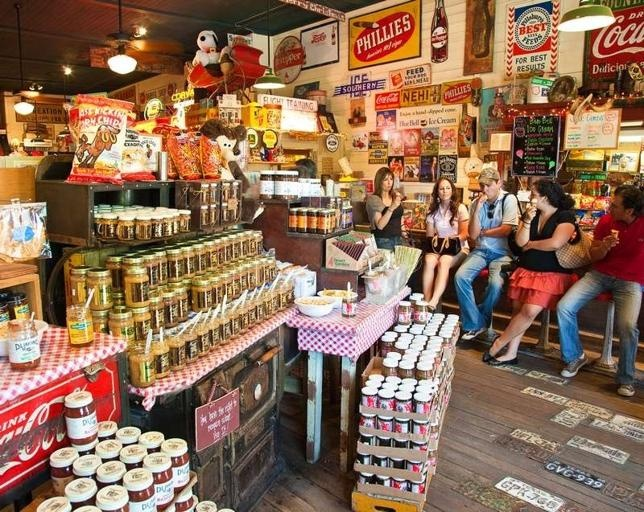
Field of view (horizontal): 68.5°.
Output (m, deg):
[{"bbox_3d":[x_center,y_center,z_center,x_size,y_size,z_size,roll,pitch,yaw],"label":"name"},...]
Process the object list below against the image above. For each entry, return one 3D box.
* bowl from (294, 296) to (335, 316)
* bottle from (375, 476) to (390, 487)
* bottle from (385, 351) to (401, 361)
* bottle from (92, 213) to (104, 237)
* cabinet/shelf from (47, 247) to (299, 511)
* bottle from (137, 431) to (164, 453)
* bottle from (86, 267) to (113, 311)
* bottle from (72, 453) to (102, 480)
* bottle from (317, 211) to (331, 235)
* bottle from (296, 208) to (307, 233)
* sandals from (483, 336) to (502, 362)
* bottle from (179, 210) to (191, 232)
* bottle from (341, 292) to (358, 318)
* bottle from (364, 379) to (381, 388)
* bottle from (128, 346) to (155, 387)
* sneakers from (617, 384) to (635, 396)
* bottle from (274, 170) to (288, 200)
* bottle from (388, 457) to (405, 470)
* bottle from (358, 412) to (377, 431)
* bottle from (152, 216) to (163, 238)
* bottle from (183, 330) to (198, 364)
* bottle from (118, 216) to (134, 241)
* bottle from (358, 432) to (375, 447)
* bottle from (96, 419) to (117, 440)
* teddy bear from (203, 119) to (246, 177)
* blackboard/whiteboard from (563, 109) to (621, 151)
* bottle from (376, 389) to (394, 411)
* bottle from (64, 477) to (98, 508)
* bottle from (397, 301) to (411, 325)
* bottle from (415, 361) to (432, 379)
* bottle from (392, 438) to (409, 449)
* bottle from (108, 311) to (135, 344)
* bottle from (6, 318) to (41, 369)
[{"bbox_3d":[-0.057,0.352,3.340,0.272,0.097,0.237,0,13,0],"label":"bowl"},{"bbox_3d":[0.347,1.279,2.705,0.073,0.089,0.066,0,-5,-3],"label":"bottle"},{"bbox_3d":[0.471,0.656,3.125,0.069,0.014,0.065,1,3,0],"label":"bottle"},{"bbox_3d":[-1.134,-0.151,2.408,0.050,0.115,0.022,3,16,11],"label":"bottle"},{"bbox_3d":[-0.989,0.571,3.186,1.406,1.446,1.750,3,9,18],"label":"cabinet/shelf"},{"bbox_3d":[-0.690,0.740,1.905,0.081,0.064,0.077,3,8,0],"label":"bottle"},{"bbox_3d":[-1.094,0.164,2.328,0.108,0.204,0.070,-7,17,-23],"label":"bottle"},{"bbox_3d":[-0.877,0.775,1.762,0.088,0.068,0.082,1,8,0],"label":"bottle"},{"bbox_3d":[0.006,-0.263,3.615,0.073,0.186,0.097,7,17,26],"label":"bottle"},{"bbox_3d":[-0.159,-0.272,3.640,0.078,0.182,0.052,1,15,6],"label":"bottle"},{"bbox_3d":[1.773,0.933,4.926,0.097,0.097,0.438,-11,17,32],"label":"sandals"},{"bbox_3d":[-0.803,-0.205,2.768,0.030,0.127,0.078,4,15,14],"label":"bottle"},{"bbox_3d":[0.187,0.331,3.323,0.096,0.142,0.240,2,14,7],"label":"bottle"},{"bbox_3d":[0.304,0.771,2.839,0.091,0.031,0.105,1,13,4],"label":"bottle"},{"bbox_3d":[-0.878,0.537,2.292,0.121,0.176,0.080,-2,15,-6],"label":"bottle"},{"bbox_3d":[2.663,1.169,4.145,0.075,0.067,0.182,-4,-9,37],"label":"sneakers"},{"bbox_3d":[-0.335,-0.549,3.680,0.123,0.187,0.069,8,17,27],"label":"bottle"},{"bbox_3d":[0.421,1.168,2.685,0.089,0.064,0.032,1,15,5],"label":"bottle"},{"bbox_3d":[0.261,0.958,2.789,0.111,0.095,0.099,2,-2,-11],"label":"bottle"},{"bbox_3d":[-0.888,-0.156,2.551,0.019,0.116,0.071,8,17,27],"label":"bottle"},{"bbox_3d":[-0.690,0.472,2.491,0.052,0.152,0.103,-1,15,-2],"label":"bottle"},{"bbox_3d":[-1.011,-0.142,2.438,0.092,0.128,0.038,-5,16,-19],"label":"bottle"},{"bbox_3d":[0.257,1.049,2.724,0.087,0.104,0.078,-1,-4,0],"label":"bottle"},{"bbox_3d":[-0.901,0.701,1.957,0.076,0.062,0.073,-4,14,-39],"label":"bottle"},{"bbox_3d":[-0.732,-0.772,3.450,0.261,0.423,0.509,1,14,5],"label":"teddy bear"},{"bbox_3d":[3.047,-1.424,5.309,0.556,0.386,0.054,10,19,38],"label":"blackboard/whiteboard"},{"bbox_3d":[0.365,0.820,2.719,0.098,0.090,0.096,4,3,38],"label":"bottle"},{"bbox_3d":[-0.847,0.822,1.689,0.099,0.077,0.089,7,11,7],"label":"bottle"},{"bbox_3d":[0.640,0.442,3.674,0.090,0.163,0.104,1,15,4],"label":"bottle"},{"bbox_3d":[0.638,0.705,2.957,0.111,0.085,0.100,-1,2,13],"label":"bottle"},{"bbox_3d":[0.441,1.056,2.683,0.079,0.062,0.055,-1,11,15],"label":"bottle"},{"bbox_3d":[-0.989,0.357,2.339,0.118,0.171,0.064,-6,16,-21],"label":"bottle"},{"bbox_3d":[-1.173,0.341,1.860,0.107,0.184,0.113,0,15,0],"label":"bottle"}]
